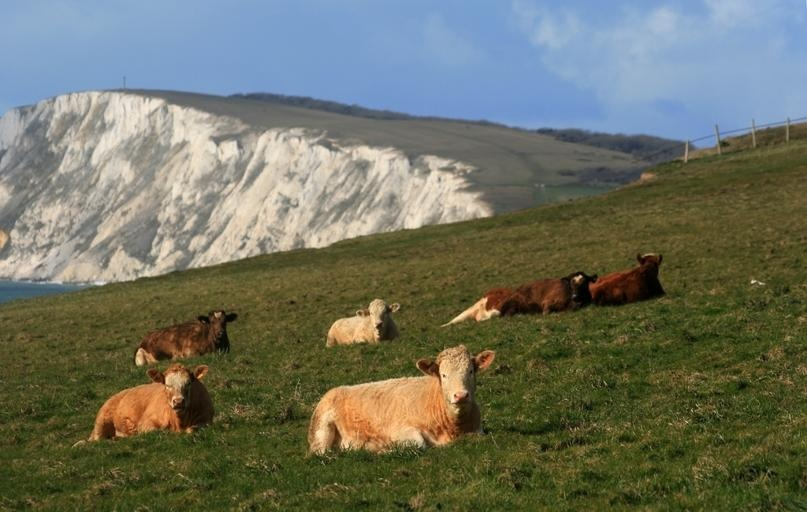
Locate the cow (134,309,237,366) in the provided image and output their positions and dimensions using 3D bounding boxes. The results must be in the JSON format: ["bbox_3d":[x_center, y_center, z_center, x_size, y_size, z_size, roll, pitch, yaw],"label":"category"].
[{"bbox_3d":[-24.876,9.389,135.005,12.537,5.349,5.416,-19,-11,9],"label":"cow"}]
